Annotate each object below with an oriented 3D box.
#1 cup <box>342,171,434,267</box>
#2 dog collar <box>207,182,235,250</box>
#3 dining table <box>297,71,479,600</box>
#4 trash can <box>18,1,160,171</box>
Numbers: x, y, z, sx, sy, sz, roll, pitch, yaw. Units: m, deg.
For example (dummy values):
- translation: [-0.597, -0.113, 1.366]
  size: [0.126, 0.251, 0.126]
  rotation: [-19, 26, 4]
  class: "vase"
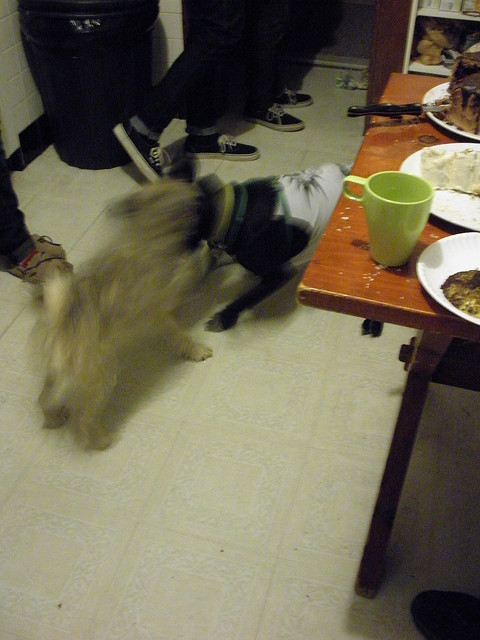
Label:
- translation: [0.165, -0.117, 0.624]
  size: [0.108, 0.088, 0.081]
  rotation: [7, 40, 6]
  class: "cup"
- translation: [-0.038, -0.252, 1.344]
  size: [0.030, 0.135, 0.130]
  rotation: [11, 25, -7]
  class: "dog collar"
- translation: [0.312, 0.026, 0.988]
  size: [0.277, 0.762, 0.686]
  rotation: [11, 41, 16]
  class: "dining table"
- translation: [-0.466, -1.069, 2.252]
  size: [0.640, 0.661, 0.592]
  rotation: [-1, 54, -3]
  class: "trash can"
